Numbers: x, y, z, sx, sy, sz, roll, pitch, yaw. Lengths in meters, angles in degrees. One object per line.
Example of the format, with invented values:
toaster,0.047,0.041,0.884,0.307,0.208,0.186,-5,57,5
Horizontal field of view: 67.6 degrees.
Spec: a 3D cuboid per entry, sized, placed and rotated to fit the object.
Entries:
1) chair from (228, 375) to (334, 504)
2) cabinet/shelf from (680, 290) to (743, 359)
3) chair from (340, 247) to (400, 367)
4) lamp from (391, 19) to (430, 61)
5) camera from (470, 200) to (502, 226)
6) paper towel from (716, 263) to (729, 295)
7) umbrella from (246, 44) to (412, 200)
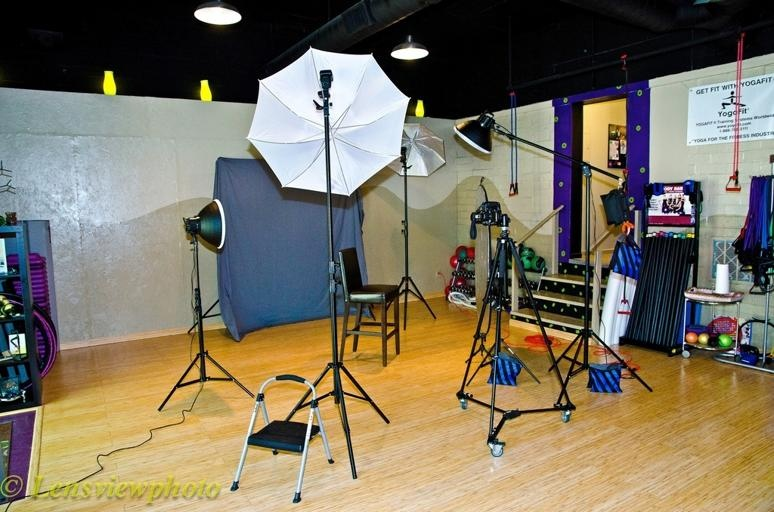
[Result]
chair,-0.869,1.703,5.819,0.928,1.303,1.137,1,-1,18
cabinet/shelf,4.143,0.864,7.390,0.647,0.918,0.746,1,6,30
chair,-0.249,0.647,7.797,0.744,1.415,0.719,2,5,18
lamp,0.424,-3.056,8.263,0.667,0.365,0.671,-1,2,-27
camera,1.054,-0.444,6.137,0.309,0.245,0.310,-1,5,8
paper towel,4.161,0.290,7.183,0.147,0.351,0.186,1,6,32
umbrella,-0.612,-1.446,6.538,1.545,1.603,0.511,40,4,-5
